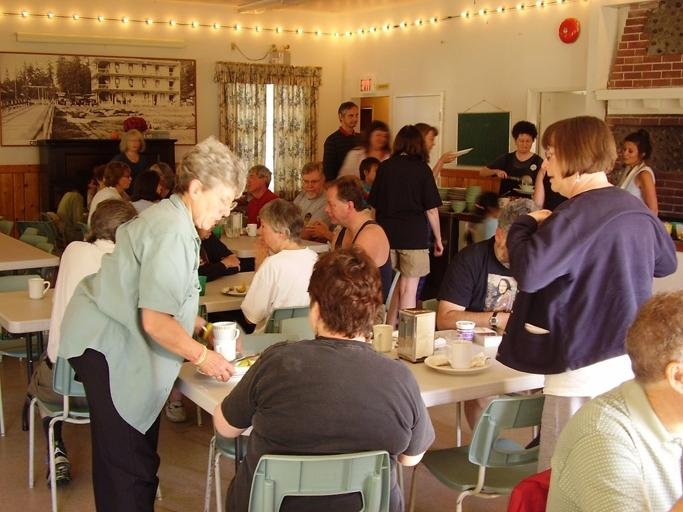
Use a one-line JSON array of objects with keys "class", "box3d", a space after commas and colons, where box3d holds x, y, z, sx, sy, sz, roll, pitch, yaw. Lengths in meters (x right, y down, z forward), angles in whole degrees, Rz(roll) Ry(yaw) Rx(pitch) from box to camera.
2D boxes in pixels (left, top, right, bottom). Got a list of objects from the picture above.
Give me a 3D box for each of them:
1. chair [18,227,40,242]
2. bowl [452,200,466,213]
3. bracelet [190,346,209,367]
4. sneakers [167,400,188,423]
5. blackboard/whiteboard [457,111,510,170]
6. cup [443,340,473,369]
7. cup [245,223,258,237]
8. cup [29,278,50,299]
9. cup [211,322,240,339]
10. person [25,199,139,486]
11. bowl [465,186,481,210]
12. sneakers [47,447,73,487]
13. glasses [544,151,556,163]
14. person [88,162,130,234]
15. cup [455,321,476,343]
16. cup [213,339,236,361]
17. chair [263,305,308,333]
[{"class": "chair", "box3d": [-3.283, -0.224, 6.017, 0.144, 0.168, 0.195, 11, 4, 13]}, {"class": "bowl", "box3d": [1.398, -0.576, 6.727, 0.129, 0.117, 0.130, -1, 6, 0]}, {"class": "bracelet", "box3d": [-0.533, 0.380, 2.162, 0.025, 0.069, 0.054, 19, 7, 27]}, {"class": "sneakers", "box3d": [-1.099, 1.049, 3.841, 0.097, 0.094, 0.157, -2, 17, -20]}, {"class": "blackboard/whiteboard", "box3d": [2.085, -1.668, 8.168, 0.038, 0.980, 1.055, -5, 8, -34]}, {"class": "cup", "box3d": [0.503, 0.423, 2.449, 0.133, 0.128, 0.087, -1, 6, -8]}, {"class": "cup", "box3d": [-0.893, -0.247, 5.731, 0.121, 0.117, 0.097, -1, 9, -13]}, {"class": "cup", "box3d": [-1.866, 0.208, 3.590, 0.168, 0.159, 0.107, 2, 0, -37]}, {"class": "cup", "box3d": [-0.475, 0.298, 2.325, 0.079, 0.064, 0.067, 3, 2, 8]}, {"class": "person", "box3d": [-1.201, 0.406, 3.056, 0.797, 1.294, 0.430, 8, 13, 3]}, {"class": "bowl", "box3d": [1.543, -0.675, 6.666, 0.201, 0.344, 0.220, 0, 12, 0]}, {"class": "sneakers", "box3d": [-1.523, 1.154, 3.084, 0.096, 0.296, 0.207, -8, 54, -27]}, {"class": "glasses", "box3d": [0.813, -0.383, 2.209, 0.035, 0.037, 0.036, 1, 0, -37]}, {"class": "person", "box3d": [-2.515, -0.611, 6.231, 0.453, 0.830, 0.752, -2, 14, -19]}, {"class": "cup", "box3d": [0.591, 0.361, 2.693, 0.086, 0.097, 0.090, 0, 1, 0]}, {"class": "cup", "box3d": [-0.458, 0.383, 2.307, 0.061, 0.096, 0.101, 6, 15, 21]}, {"class": "chair", "box3d": [-0.293, 0.301, 3.106, 0.183, 0.150, 0.193, -3, 4, -29]}]
